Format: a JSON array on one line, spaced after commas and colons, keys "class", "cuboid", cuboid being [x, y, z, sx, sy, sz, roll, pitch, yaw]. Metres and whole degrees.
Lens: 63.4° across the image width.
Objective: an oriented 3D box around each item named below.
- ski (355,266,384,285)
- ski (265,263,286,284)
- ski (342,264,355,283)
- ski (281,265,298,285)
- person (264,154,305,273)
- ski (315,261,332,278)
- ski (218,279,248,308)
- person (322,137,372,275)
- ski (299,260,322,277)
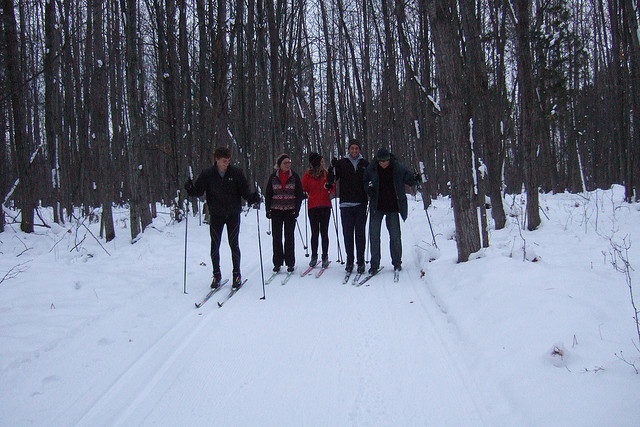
[{"class": "ski", "cuboid": [1.268, 1.625, 13.556, 0.240, 0.112, 1.889, 8, 15, 21]}, {"class": "ski", "cuboid": [-1.179, 1.578, 14.114, 0.137, 0.200, 1.522, 15, 27, 7]}, {"class": "ski", "cuboid": [0.767, 1.610, 13.787, 0.138, 0.081, 1.125, 16, 14, 7]}, {"class": "ski", "cuboid": [-0.815, 1.634, 14.025, 0.113, 0.162, 1.237, 16, 25, 3]}, {"class": "person", "cuboid": [-0.966, -0.038, 14.205, 0.977, 3.077, 0.757, -4, 12, -9]}, {"class": "ski", "cuboid": [0.031, 1.543, 14.200, 0.083, 0.119, 0.930, 7, 13, 13]}, {"class": "ski", "cuboid": [-2.199, 1.999, 12.920, 0.145, 0.158, 1.345, 29, 10, 0]}, {"class": "person", "cuboid": [0.862, -0.171, 14.136, 1.297, 3.568, 1.167, 3, 14, 22]}, {"class": "ski", "cuboid": [-0.293, 1.420, 14.445, 0.168, 0.199, 1.410, 7, 22, 14]}]
